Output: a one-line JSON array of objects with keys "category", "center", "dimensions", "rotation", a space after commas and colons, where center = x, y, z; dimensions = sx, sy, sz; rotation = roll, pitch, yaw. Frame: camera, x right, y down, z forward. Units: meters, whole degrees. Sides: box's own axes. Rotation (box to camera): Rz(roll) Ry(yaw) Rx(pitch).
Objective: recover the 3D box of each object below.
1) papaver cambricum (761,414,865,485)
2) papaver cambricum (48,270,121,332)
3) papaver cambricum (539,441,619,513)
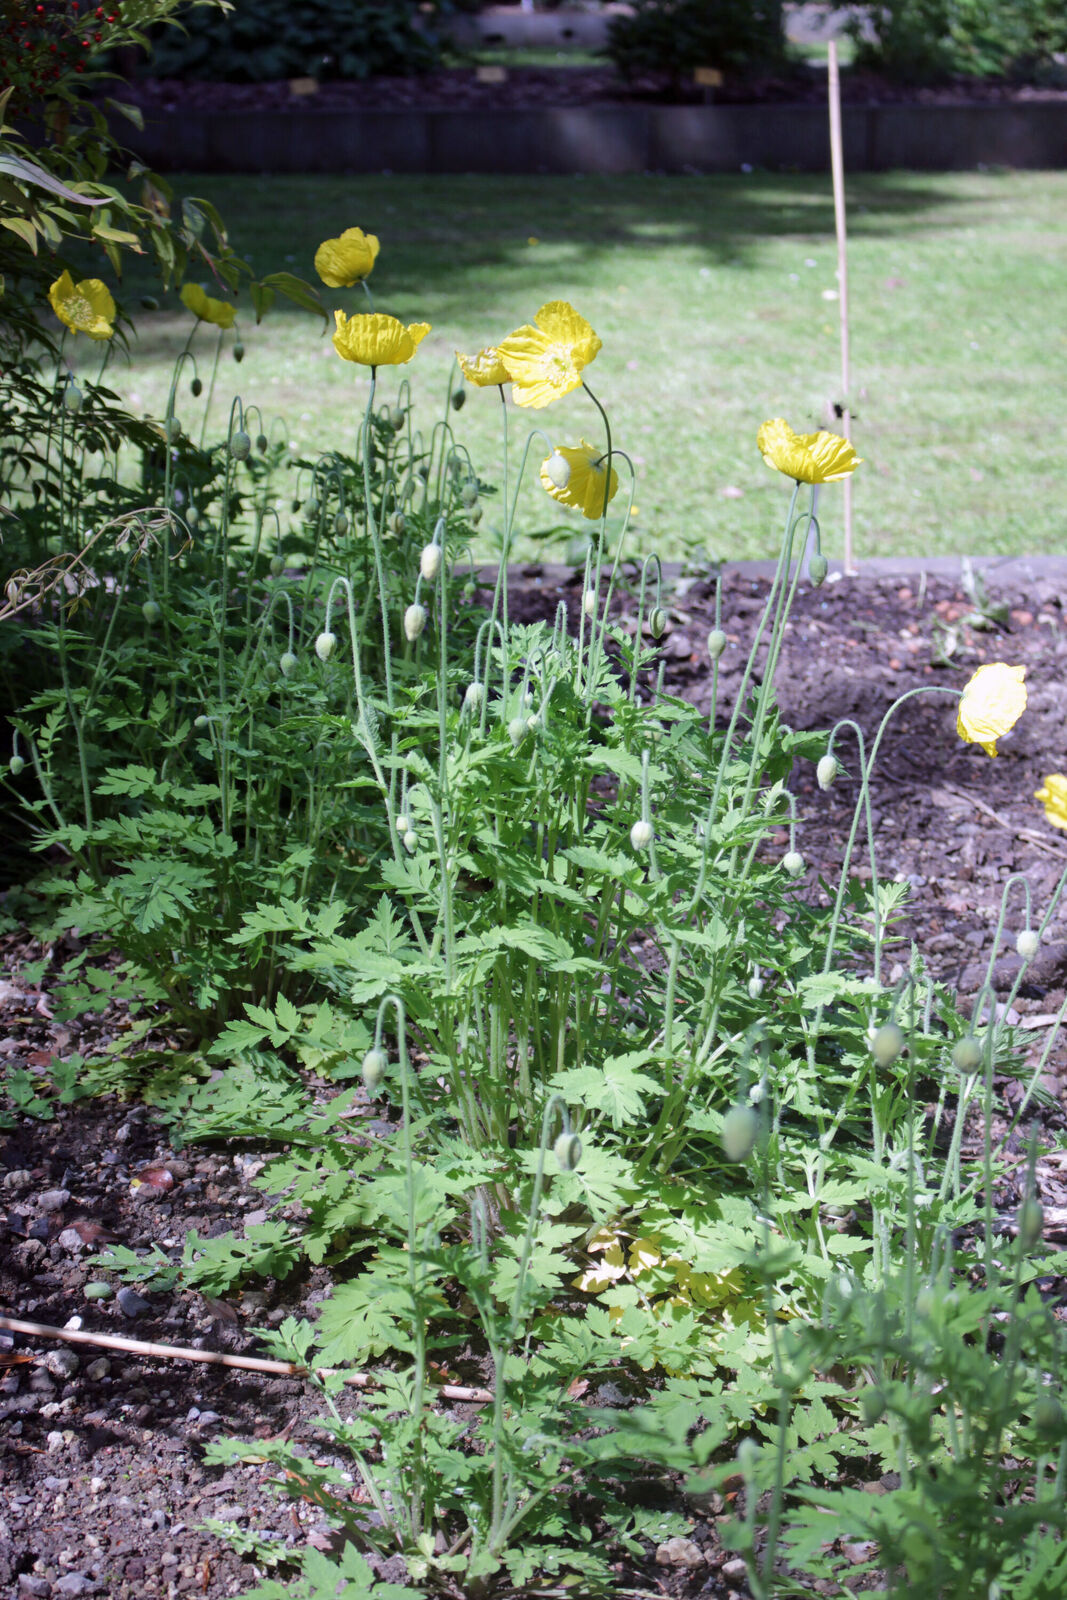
[{"category": "papaver cambricum", "center": [0.279, -0.355, 1.473], "dimensions": [0.106, 0.045, 0.104], "rotation": [22, 28, -1]}, {"category": "papaver cambricum", "center": [-0.644, -0.700, 2.072], "dimensions": [0.079, 0.104, 0.248], "rotation": [-3, 13, -17]}, {"category": "papaver cambricum", "center": [0.052, -0.317, 1.456], "dimensions": [0.081, 0.080, 0.036], "rotation": [21, 63, 46]}]
